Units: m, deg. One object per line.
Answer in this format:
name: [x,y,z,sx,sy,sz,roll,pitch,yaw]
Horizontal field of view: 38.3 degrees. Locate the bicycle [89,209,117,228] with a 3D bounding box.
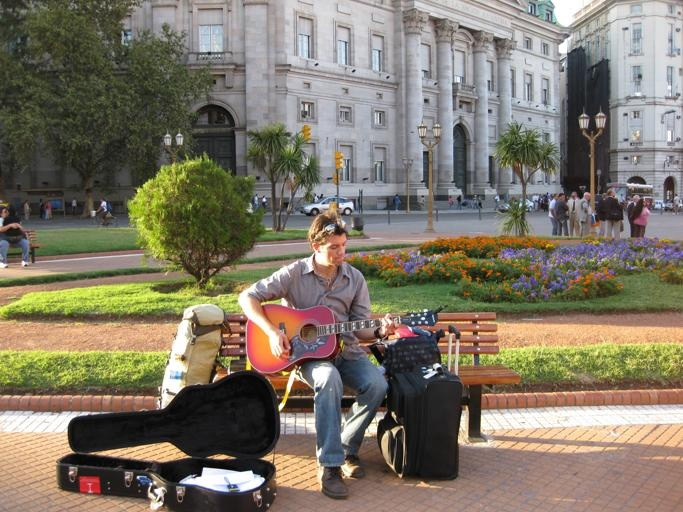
bicycle: [-11.977,-1.843,49.074,1.257,0.687,2.343,1,2,3]

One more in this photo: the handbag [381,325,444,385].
handbag: [1.166,1.701,16.233,0.925,0.992,0.667,-4,-3,3]

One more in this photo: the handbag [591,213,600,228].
handbag: [9.291,-1.314,35.961,0.213,0.543,0.524,-3,3,18]
